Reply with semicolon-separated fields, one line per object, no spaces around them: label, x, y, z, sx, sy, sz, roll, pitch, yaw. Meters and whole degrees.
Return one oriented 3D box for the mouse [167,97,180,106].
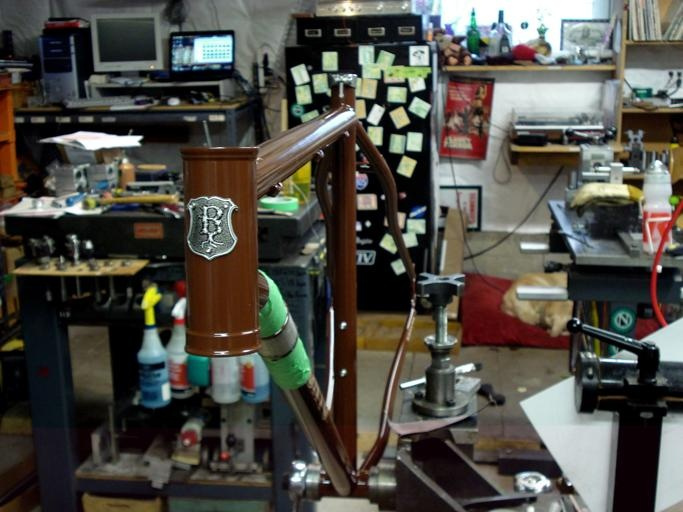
mouse;-1.311;-1.227;5.238;0.085;0.022;0.085;20;33;35

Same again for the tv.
tv;-1.778;-1.749;5.542;0.633;0.550;0.268;-2;7;-5

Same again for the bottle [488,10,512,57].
bottle;1.265;-1.781;5.332;0.243;0.354;0.239;-2;16;0

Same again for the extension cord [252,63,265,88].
extension cord;-0.703;-1.542;5.663;0.162;0.175;0.042;3;8;13

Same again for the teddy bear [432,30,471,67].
teddy bear;0.876;-1.666;5.300;0.268;0.277;0.106;-11;-5;-11

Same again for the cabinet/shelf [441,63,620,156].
cabinet/shelf;1.542;-1.219;5.325;0.944;0.459;0.482;0;10;2

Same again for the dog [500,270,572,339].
dog;1.233;0.325;4.234;0.481;0.198;0.403;15;22;36

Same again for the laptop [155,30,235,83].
laptop;-1.171;-1.639;5.438;0.513;0.366;0.074;0;2;2

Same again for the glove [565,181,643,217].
glove;1.155;-0.272;2.917;0.265;0.134;0.147;-15;-5;27
